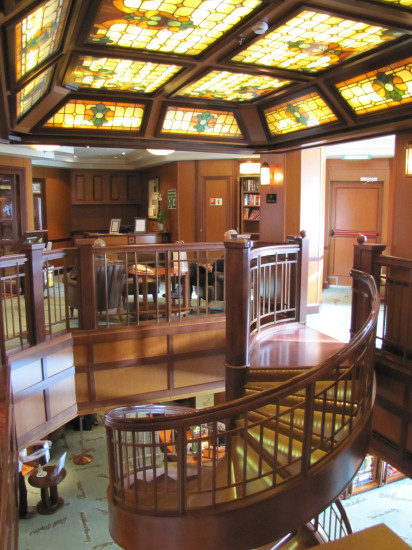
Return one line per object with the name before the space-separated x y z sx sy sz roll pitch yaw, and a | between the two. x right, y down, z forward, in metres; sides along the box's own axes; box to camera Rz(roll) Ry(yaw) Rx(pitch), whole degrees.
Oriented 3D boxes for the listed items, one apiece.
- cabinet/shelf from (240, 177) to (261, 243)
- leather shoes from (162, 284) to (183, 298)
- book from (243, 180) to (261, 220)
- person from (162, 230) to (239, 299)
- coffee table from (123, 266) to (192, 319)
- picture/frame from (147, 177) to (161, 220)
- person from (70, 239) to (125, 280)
cabinet/shelf | 0.954 -1.264 8.762 0.531 1.326 0.234 9 20 38
leather shoes | -0.426 0.241 6.057 0.283 0.154 0.274 1 1 -9
book | 0.895 -1.521 8.713 0.353 0.838 0.303 -2 8 10
person | -0.232 -0.078 5.553 0.847 1.108 1.031 0 2 25
coffee table | -0.617 0.246 5.303 0.778 0.560 0.784 -2 16 -5
picture/frame | -1.299 -1.909 10.782 0.180 1.269 1.152 -3 12 -19
person | -1.325 -0.161 4.809 0.378 0.497 1.012 -6 8 -17
